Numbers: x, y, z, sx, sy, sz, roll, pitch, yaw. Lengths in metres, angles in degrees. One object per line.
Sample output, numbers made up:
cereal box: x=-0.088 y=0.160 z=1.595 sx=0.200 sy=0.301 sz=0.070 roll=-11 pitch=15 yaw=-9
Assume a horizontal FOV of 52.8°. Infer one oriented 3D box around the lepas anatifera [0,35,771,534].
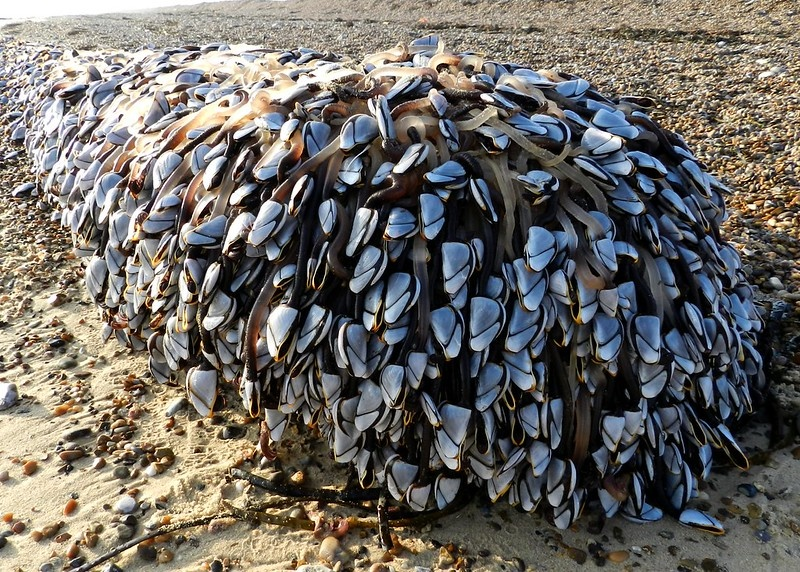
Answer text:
lepas anatifera: x=-0.129 y=-0.176 z=3.532 sx=2.747 sy=1.111 sz=2.127 roll=15 pitch=43 yaw=18
